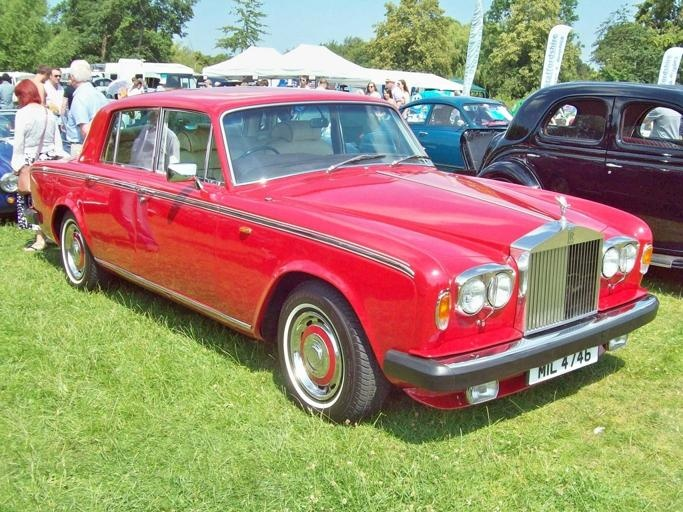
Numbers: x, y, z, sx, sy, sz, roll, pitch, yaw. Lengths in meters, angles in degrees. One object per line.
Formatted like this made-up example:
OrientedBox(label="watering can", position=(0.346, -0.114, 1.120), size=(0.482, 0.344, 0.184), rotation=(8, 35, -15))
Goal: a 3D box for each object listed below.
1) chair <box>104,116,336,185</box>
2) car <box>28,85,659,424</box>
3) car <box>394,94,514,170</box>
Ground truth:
OrientedBox(label="chair", position=(-0.999, -1.022, 4.640), size=(1.265, 0.480, 1.029), rotation=(11, 19, 36))
OrientedBox(label="car", position=(-0.613, -0.475, 5.216), size=(6.575, 2.330, 2.367), rotation=(15, 18, 36))
OrientedBox(label="car", position=(2.234, -2.528, 11.521), size=(2.709, 1.348, 1.685), rotation=(19, 29, 33))
